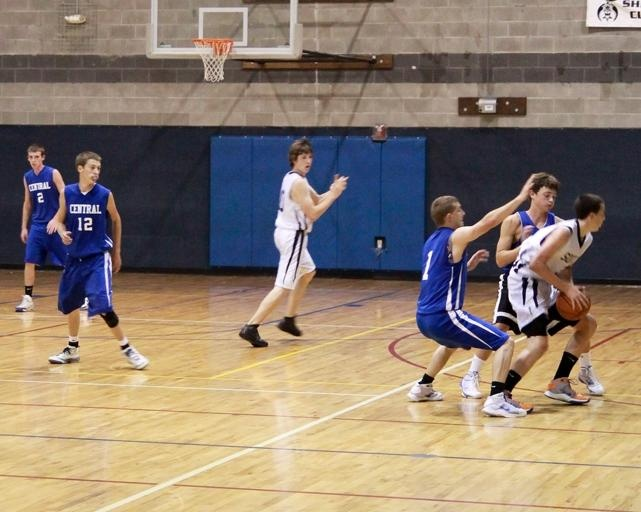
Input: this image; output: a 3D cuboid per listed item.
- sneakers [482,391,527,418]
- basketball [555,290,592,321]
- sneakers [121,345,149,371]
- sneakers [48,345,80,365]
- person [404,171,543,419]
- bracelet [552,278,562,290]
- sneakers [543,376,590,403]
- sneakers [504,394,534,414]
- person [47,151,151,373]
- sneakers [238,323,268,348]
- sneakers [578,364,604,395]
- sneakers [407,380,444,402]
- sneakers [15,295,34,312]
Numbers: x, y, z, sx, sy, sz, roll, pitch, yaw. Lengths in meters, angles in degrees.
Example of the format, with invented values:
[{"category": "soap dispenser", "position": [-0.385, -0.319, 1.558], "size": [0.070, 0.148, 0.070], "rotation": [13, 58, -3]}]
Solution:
[{"category": "sneakers", "position": [1.174, 0.980, 5.270], "size": [0.336, 0.172, 0.121], "rotation": [1, -1, -3]}, {"category": "basketball", "position": [1.648, 0.336, 5.270], "size": [0.217, 0.225, 0.254], "rotation": [3, 8, 12]}, {"category": "sneakers", "position": [-1.486, 0.831, 6.512], "size": [0.134, 0.112, 0.314], "rotation": [45, -8, -22]}, {"category": "sneakers", "position": [-2.172, 0.847, 6.794], "size": [0.306, 0.148, 0.109], "rotation": [1, -1, -5]}, {"category": "person", "position": [0.974, 0.278, 5.359], "size": [0.815, 1.539, 0.508], "rotation": [4, 8, 22]}, {"category": "bracelet", "position": [1.487, 0.174, 5.070], "size": [0.074, 0.054, 0.074], "rotation": [0, 16, 9]}, {"category": "sneakers", "position": [1.731, 0.939, 5.617], "size": [0.379, 0.201, 0.133], "rotation": [9, -2, 0]}, {"category": "sneakers", "position": [1.312, 0.990, 5.340], "size": [0.199, 0.084, 0.067], "rotation": [20, 6, -1]}, {"category": "person", "position": [-1.815, 0.045, 6.553], "size": [0.813, 1.764, 0.574], "rotation": [8, 11, 42]}, {"category": "sneakers", "position": [-0.611, 0.738, 7.594], "size": [0.256, 0.231, 0.263], "rotation": [1, 8, -3]}, {"category": "sneakers", "position": [1.970, 0.892, 5.821], "size": [0.104, 0.128, 0.304], "rotation": [-5, 12, -12]}, {"category": "sneakers", "position": [0.715, 0.923, 5.654], "size": [0.295, 0.184, 0.101], "rotation": [-1, 36, -12]}, {"category": "sneakers", "position": [-3.558, 0.581, 9.757], "size": [0.132, 0.164, 0.343], "rotation": [0, -1, 3]}]
